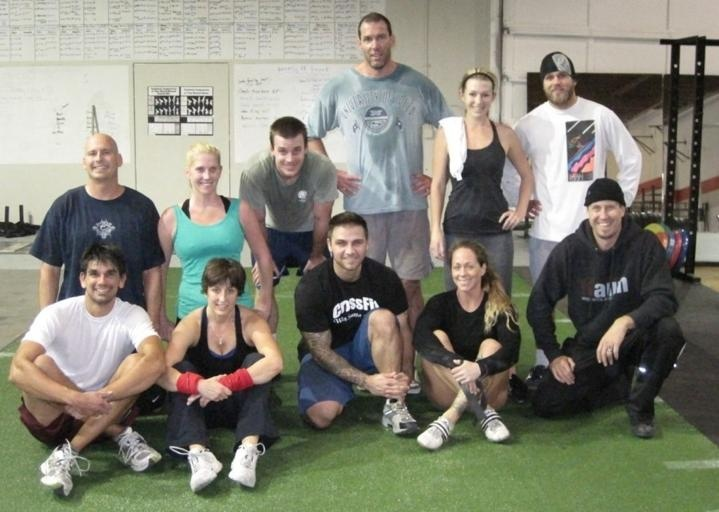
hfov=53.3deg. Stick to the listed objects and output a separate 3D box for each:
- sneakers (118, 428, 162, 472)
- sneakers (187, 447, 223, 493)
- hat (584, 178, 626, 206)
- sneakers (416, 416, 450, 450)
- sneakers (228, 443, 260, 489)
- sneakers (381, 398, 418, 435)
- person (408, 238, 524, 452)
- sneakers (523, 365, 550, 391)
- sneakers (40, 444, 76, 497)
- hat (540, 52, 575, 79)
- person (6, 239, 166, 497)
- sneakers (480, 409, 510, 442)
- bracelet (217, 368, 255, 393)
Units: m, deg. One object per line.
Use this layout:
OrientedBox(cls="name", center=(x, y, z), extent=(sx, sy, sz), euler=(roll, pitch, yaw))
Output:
OrientedBox(cls="sneakers", center=(-1.270, 1.068, 4.068), extent=(0.136, 0.154, 0.313), euler=(-38, 26, -25))
OrientedBox(cls="sneakers", center=(-0.841, 1.145, 3.906), extent=(0.186, 0.179, 0.239), euler=(-4, 12, -13))
OrientedBox(cls="hat", center=(1.518, -0.392, 4.409), extent=(0.179, 0.125, 0.183), euler=(0, -3, 9))
OrientedBox(cls="sneakers", center=(0.431, 1.027, 4.154), extent=(0.100, 0.114, 0.262), euler=(15, -1, 23))
OrientedBox(cls="sneakers", center=(-0.621, 1.131, 3.877), extent=(0.104, 0.120, 0.267), euler=(29, 2, -8))
OrientedBox(cls="sneakers", center=(0.239, 0.981, 4.319), extent=(0.109, 0.149, 0.286), euler=(-1, -6, -25))
OrientedBox(cls="person", center=(0.698, 0.563, 4.447), extent=(0.721, 1.258, 1.163), euler=(-1, 3, 11))
OrientedBox(cls="sneakers", center=(1.210, 0.821, 4.892), extent=(0.109, 0.083, 0.194), euler=(-18, 29, 37))
OrientedBox(cls="sneakers", center=(-1.602, 1.141, 3.835), extent=(0.143, 0.117, 0.336), euler=(-36, 21, -22))
OrientedBox(cls="hat", center=(1.378, -1.349, 4.951), extent=(0.200, 0.168, 0.205), euler=(3, 5, 25))
OrientedBox(cls="person", center=(-1.574, 0.555, 4.429), extent=(1.036, 1.494, 1.233), euler=(-1, 6, -32))
OrientedBox(cls="sneakers", center=(0.806, 1.010, 4.241), extent=(0.101, 0.092, 0.244), euler=(-9, 0, -2))
OrientedBox(cls="bracelet", center=(-0.701, 0.705, 4.077), extent=(0.169, 0.121, 0.072), euler=(-18, -13, -8))
